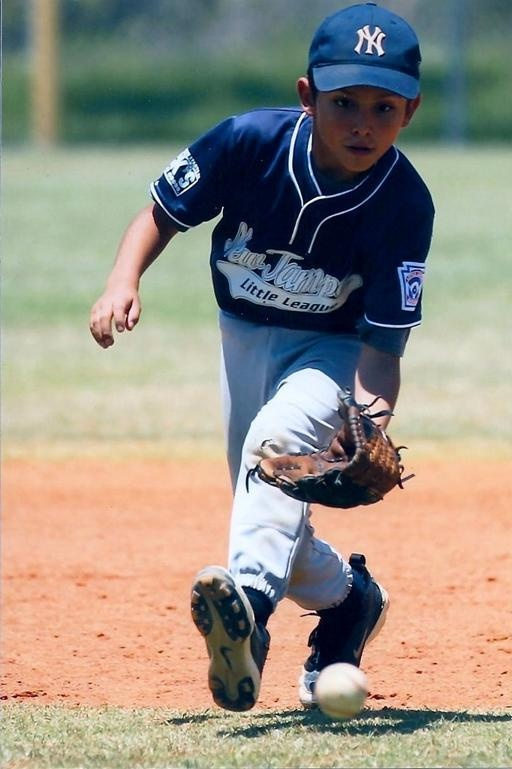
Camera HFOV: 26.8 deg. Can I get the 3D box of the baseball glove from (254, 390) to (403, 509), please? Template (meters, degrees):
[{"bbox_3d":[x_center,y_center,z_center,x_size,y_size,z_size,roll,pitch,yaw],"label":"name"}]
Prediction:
[{"bbox_3d":[0.169,0.128,2.097,0.293,0.129,0.202,-2,52,11],"label":"baseball glove"}]

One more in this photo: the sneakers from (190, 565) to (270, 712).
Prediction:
[{"bbox_3d":[-0.052,0.520,2.120,0.116,0.374,0.235,4,10,19],"label":"sneakers"}]

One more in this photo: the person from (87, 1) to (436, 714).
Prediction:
[{"bbox_3d":[0.123,-0.059,2.527,0.857,1.554,0.957,-5,21,-13],"label":"person"}]
